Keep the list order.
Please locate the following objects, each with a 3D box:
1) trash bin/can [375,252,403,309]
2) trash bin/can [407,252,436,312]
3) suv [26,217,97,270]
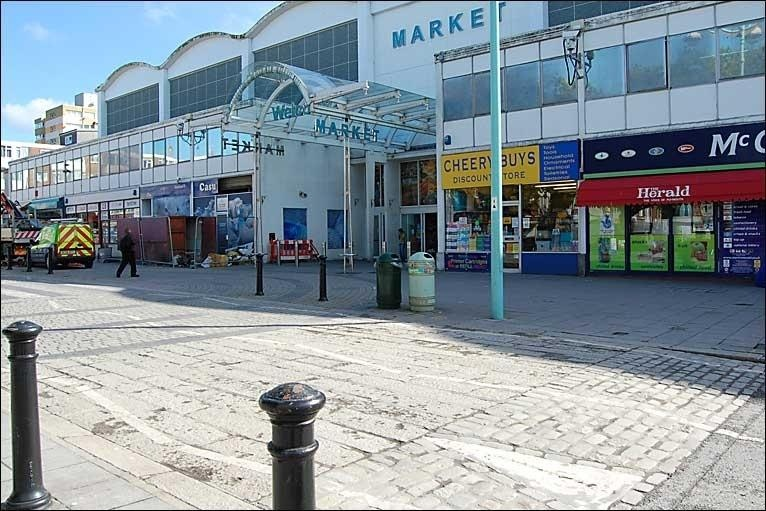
[{"bbox_3d":[0.138,0.617,14.464,0.570,1.309,0.336,-2,2,1],"label":"trash bin/can"},{"bbox_3d":[0.896,0.616,14.119,0.578,1.334,0.424,-2,2,0],"label":"trash bin/can"},{"bbox_3d":[-14.907,-0.496,28.801,1.961,1.566,3.276,0,4,-42],"label":"suv"}]
